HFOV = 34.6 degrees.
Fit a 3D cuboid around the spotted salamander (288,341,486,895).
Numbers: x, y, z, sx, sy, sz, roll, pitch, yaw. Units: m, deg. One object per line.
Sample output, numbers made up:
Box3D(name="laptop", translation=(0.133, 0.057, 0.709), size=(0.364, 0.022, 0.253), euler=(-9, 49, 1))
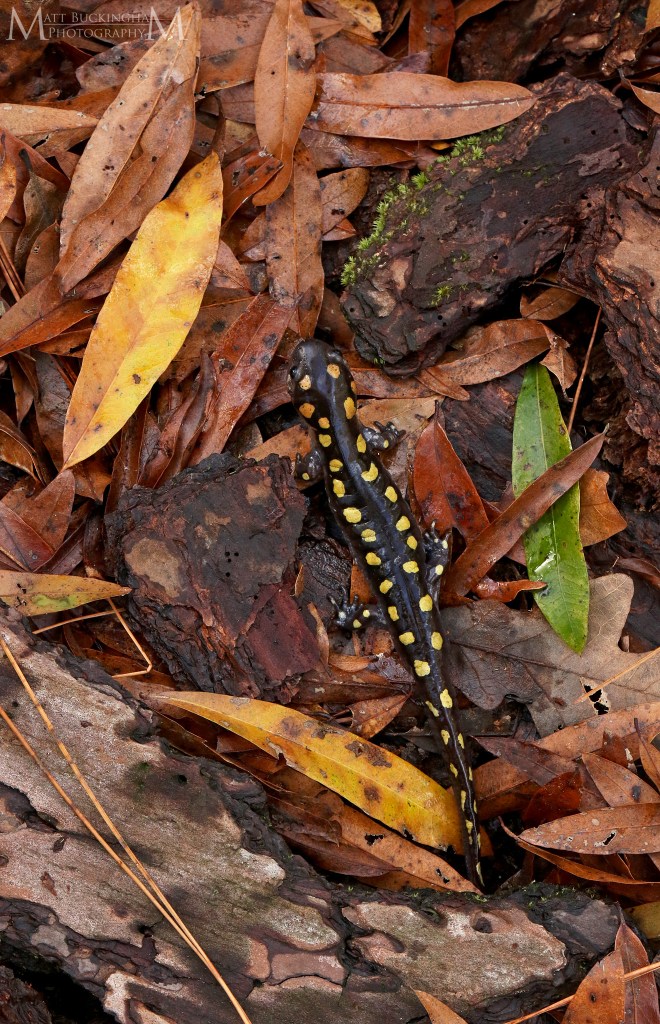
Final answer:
Box3D(name="spotted salamander", translation=(0.330, 0.312, 3.603), size=(0.726, 1.655, 0.846), euler=(12, 24, 41))
